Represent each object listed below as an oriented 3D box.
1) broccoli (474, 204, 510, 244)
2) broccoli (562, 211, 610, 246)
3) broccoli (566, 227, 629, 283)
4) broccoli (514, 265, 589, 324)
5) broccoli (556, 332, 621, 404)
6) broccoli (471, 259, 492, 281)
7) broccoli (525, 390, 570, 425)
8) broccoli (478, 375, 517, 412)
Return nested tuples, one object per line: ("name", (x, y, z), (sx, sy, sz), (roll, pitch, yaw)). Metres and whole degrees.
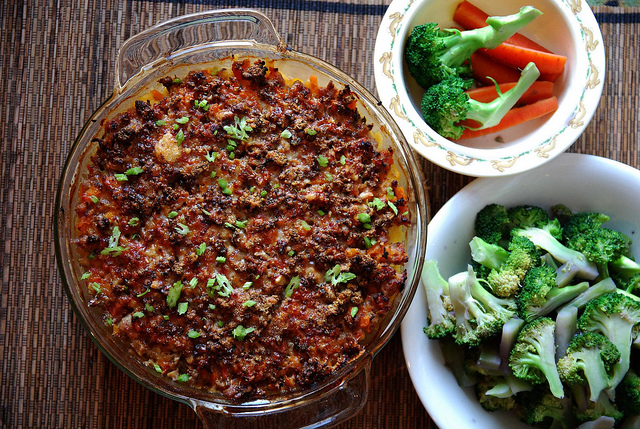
("broccoli", (1.378, 0.061, 5.068), (0.218, 0.137, 0.329), (2, 91, 4))
("broccoli", (2.098, 0.069, 5.054), (0.303, 0.259, 0.127), (-1, 99, 29))
("broccoli", (2.191, 0.240, 4.980), (0.421, 0.196, 0.269), (-4, 84, -3))
("broccoli", (1.830, 0.589, 4.936), (0.554, 0.396, 0.372), (-7, 78, 22))
("broccoli", (2.035, 1.114, 4.774), (0.417, 0.209, 0.544), (8, 81, 7))
("broccoli", (1.300, 0.449, 5.105), (0.134, 0.078, 0.149), (-40, 88, 25))
("broccoli", (1.810, 1.515, 5.033), (0.267, 0.151, 0.257), (13, 97, 11))
("broccoli", (1.407, 1.453, 5.024), (0.236, 0.145, 0.309), (-30, 91, 28))
